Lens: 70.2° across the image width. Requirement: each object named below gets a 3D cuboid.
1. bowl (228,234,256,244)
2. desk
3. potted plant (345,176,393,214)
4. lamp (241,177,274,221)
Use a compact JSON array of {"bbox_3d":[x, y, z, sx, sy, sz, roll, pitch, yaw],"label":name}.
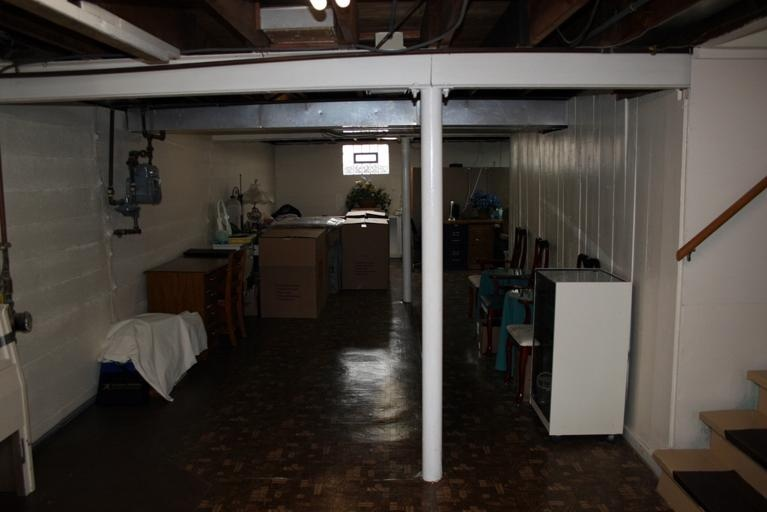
[{"bbox_3d":[-2.060,-0.213,7.989,0.382,0.122,0.572,-1,12,-14],"label":"bowl"},{"bbox_3d":[-2.306,0.579,6.887,0.687,0.954,1.475,0,4,-2],"label":"desk"},{"bbox_3d":[-0.301,-1.351,12.259,0.824,0.635,0.860,-4,10,-21],"label":"potted plant"},{"bbox_3d":[-2.065,-0.922,8.854,0.442,0.595,0.451,0,4,-12],"label":"lamp"}]
